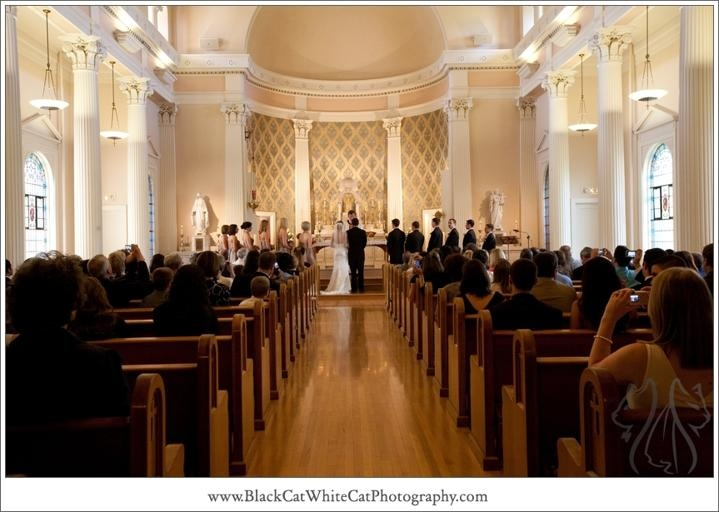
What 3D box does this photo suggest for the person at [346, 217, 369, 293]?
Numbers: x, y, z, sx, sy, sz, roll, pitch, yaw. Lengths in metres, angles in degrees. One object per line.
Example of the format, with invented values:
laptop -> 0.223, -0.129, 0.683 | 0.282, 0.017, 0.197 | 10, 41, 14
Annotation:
person -> -0.096, 0.012, 13.887 | 0.477, 1.893, 1.414 | -1, 3, -1

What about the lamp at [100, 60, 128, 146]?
lamp -> -6.635, -4.025, 14.944 | 0.675, 2.024, 2.847 | -3, 3, -23

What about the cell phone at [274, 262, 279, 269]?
cell phone -> -1.377, 0.144, 9.177 | 0.111, 0.124, 0.039 | -10, 10, -22

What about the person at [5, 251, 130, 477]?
person -> -1.367, 0.510, 2.601 | 0.594, 0.984, 0.291 | -2, 3, -6
